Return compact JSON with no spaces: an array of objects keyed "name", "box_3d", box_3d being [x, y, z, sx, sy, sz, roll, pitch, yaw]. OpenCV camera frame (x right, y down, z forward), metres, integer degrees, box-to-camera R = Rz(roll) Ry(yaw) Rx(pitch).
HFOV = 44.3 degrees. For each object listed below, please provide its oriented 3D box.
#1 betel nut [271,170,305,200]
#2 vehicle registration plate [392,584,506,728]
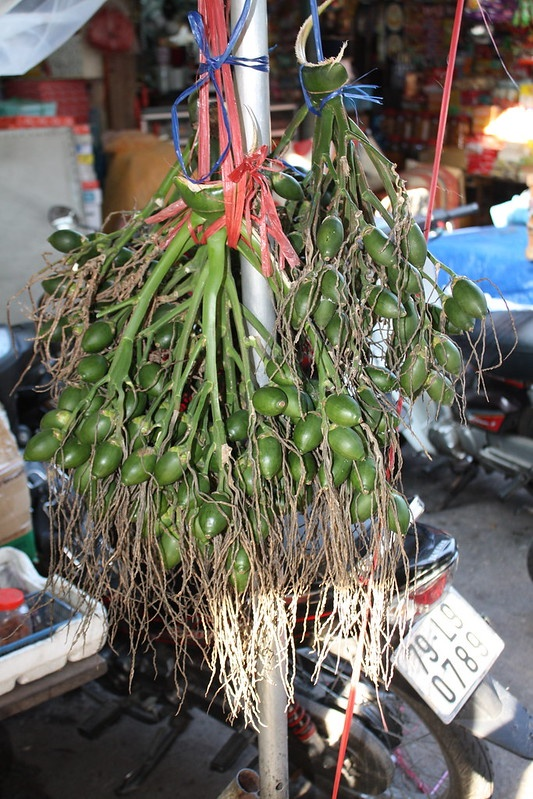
[{"name":"betel nut","box_3d":[0.021,-0.228,0.726,0.036,0.025,0.022,31,60,-6]},{"name":"vehicle registration plate","box_3d":[0.415,0.530,1.487,0.196,0.253,0.026,12,35,2]}]
